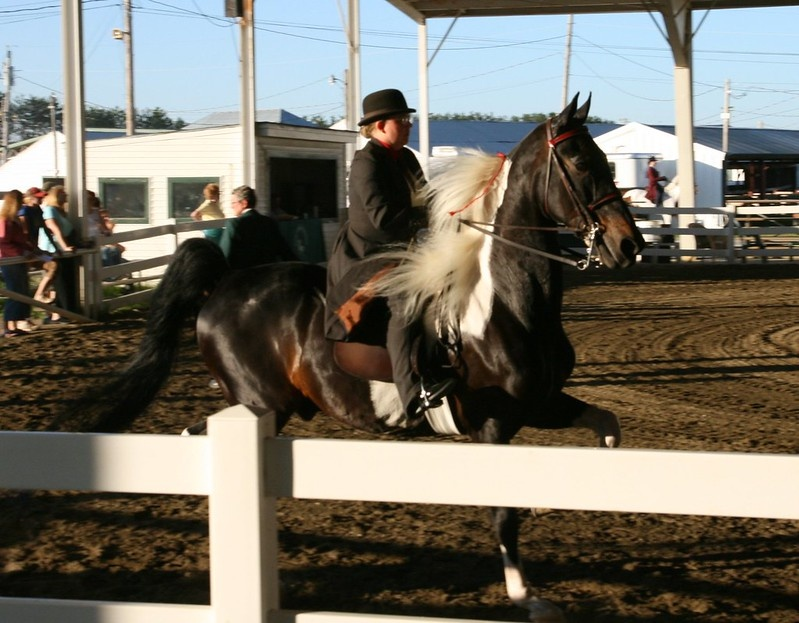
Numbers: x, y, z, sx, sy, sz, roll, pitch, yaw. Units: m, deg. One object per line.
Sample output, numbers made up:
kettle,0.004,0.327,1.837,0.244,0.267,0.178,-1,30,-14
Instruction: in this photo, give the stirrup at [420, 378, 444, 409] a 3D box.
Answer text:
stirrup,0.134,0.371,3.867,0.139,0.113,0.061,1,-4,31

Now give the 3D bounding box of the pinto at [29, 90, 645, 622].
pinto,-0.098,-0.190,4.329,2.289,1.660,0.630,8,7,32
